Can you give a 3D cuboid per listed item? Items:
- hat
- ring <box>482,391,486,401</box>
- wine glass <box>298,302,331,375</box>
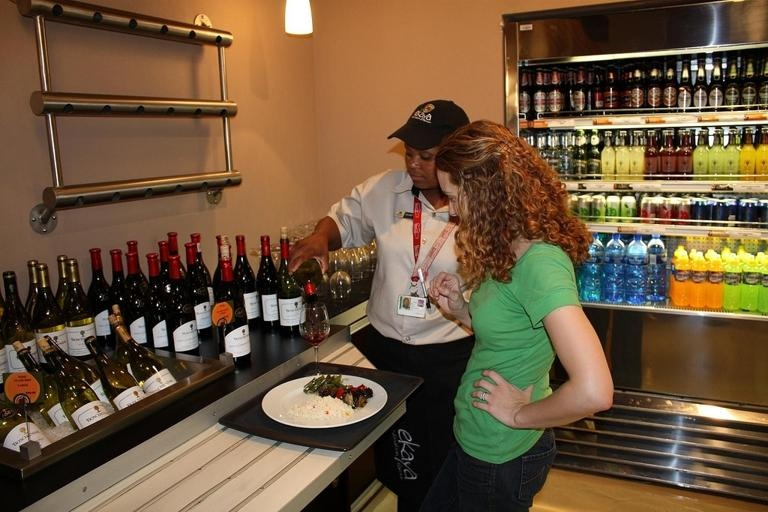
[{"bbox_3d":[0.242,-0.707,2.794,0.421,0.224,0.280,-10,27,-35],"label":"hat"},{"bbox_3d":[0.395,0.559,2.082,0.010,0.030,0.024,5,-11,-20],"label":"ring"},{"bbox_3d":[-0.327,0.386,2.525,0.129,0.385,0.329,-7,13,-8],"label":"wine glass"}]
